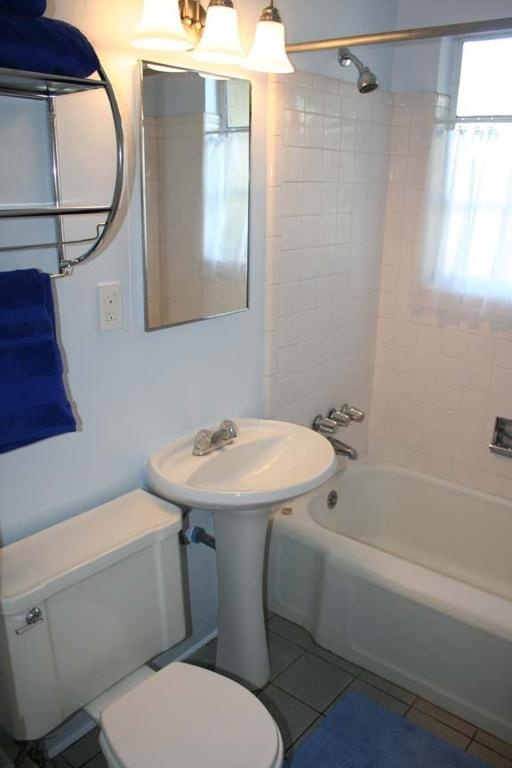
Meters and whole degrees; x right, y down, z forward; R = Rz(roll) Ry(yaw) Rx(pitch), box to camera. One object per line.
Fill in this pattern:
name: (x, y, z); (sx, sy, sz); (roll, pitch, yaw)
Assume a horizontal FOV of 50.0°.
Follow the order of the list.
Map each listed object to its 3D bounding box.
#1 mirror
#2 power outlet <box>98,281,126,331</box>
mirror: (-0.171, -0.527, 1.479); (0.017, 0.834, 0.555); (11, 20, 27)
power outlet: (-0.349, -0.191, 1.324); (0.013, 0.129, 0.087); (11, 21, 26)
